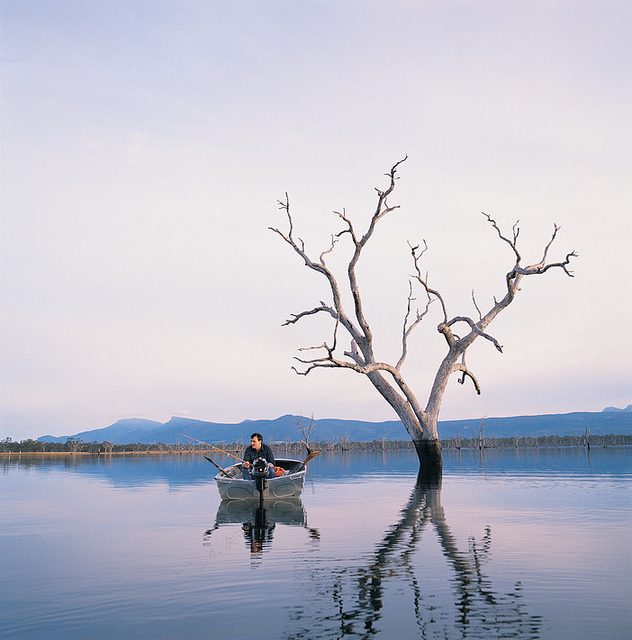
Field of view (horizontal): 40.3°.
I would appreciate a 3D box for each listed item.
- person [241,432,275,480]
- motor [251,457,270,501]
[{"bbox_3d":[-1.848,4.471,27.246,0.871,1.971,0.937,-2,15,-8],"label":"person"},{"bbox_3d":[-1.689,4.568,27.081,0.490,0.850,2.463,-4,7,-2],"label":"motor"}]
